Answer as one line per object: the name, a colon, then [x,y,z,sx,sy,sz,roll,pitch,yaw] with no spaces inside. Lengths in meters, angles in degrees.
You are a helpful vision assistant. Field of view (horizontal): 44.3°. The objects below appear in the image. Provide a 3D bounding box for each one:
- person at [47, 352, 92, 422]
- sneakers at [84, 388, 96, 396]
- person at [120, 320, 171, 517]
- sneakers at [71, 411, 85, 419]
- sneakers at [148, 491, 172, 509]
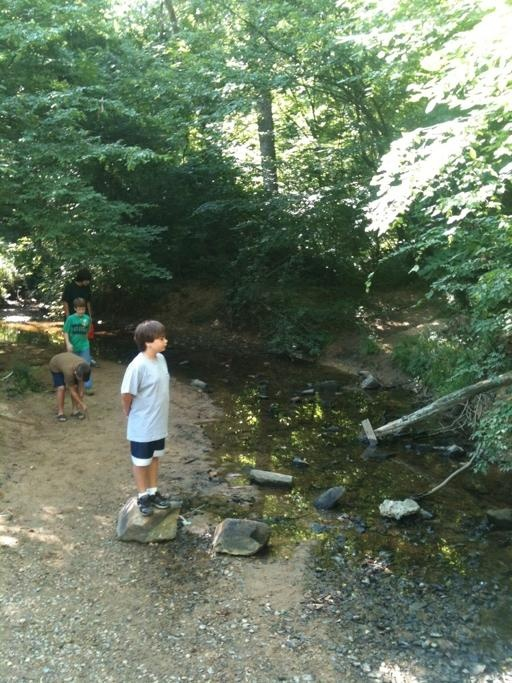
person: [-2.515,0.593,8.540,0.475,0.947,0.938,-4,14,-17]
sneakers: [-2.572,0.780,9.827,0.179,0.148,0.090,-24,-13,24]
person: [-1.051,0.726,6.017,0.431,1.883,0.462,-2,15,-10]
sneakers: [-2.444,1.008,8.732,0.246,0.088,0.089,-2,1,41]
sneakers: [-0.957,1.586,6.287,0.287,0.109,0.109,2,2,31]
